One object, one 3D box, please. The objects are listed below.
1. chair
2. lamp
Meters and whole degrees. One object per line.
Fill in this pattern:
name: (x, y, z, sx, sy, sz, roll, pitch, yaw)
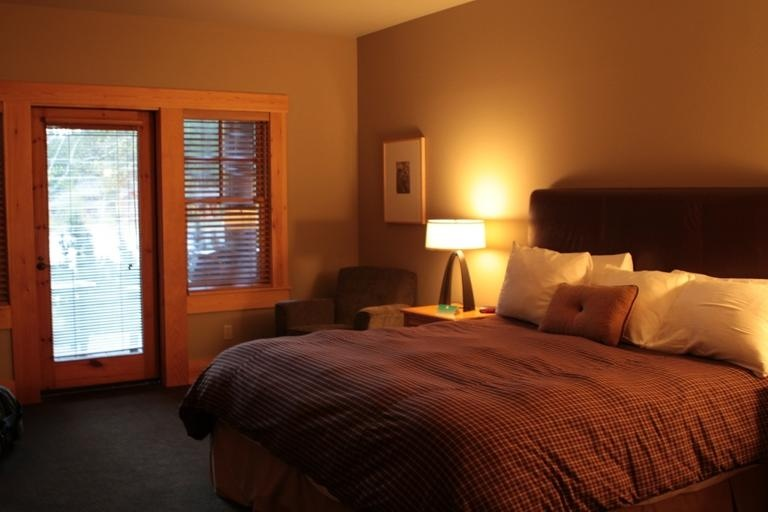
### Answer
chair: (-0.366, 0.700, 6.146, 1.199, 1.263, 1.042, 1, -5, 33)
lamp: (0.720, 0.080, 5.782, 0.580, 0.884, 0.594, 5, 8, 42)
